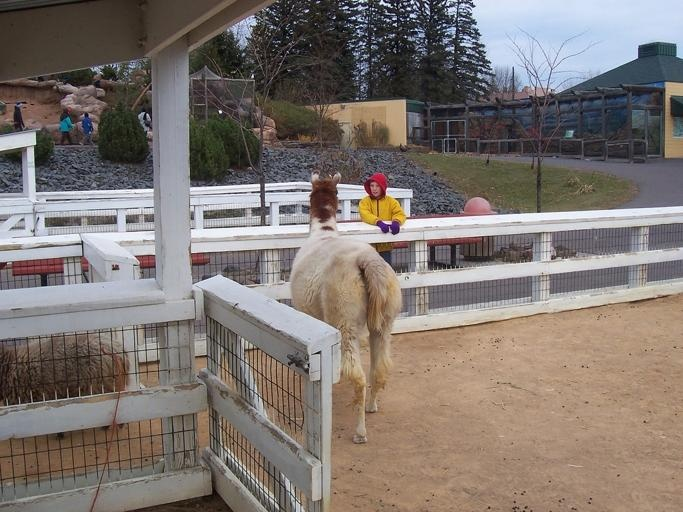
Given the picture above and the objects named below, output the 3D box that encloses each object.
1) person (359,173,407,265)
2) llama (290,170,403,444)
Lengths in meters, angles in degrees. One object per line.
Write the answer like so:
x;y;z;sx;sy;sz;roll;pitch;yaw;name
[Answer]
0.578;-0.665;12.179;0.563;1.444;0.637;0;18;-7;person
-0.012;0.408;10.668;1.149;2.788;3.712;1;6;-12;llama
